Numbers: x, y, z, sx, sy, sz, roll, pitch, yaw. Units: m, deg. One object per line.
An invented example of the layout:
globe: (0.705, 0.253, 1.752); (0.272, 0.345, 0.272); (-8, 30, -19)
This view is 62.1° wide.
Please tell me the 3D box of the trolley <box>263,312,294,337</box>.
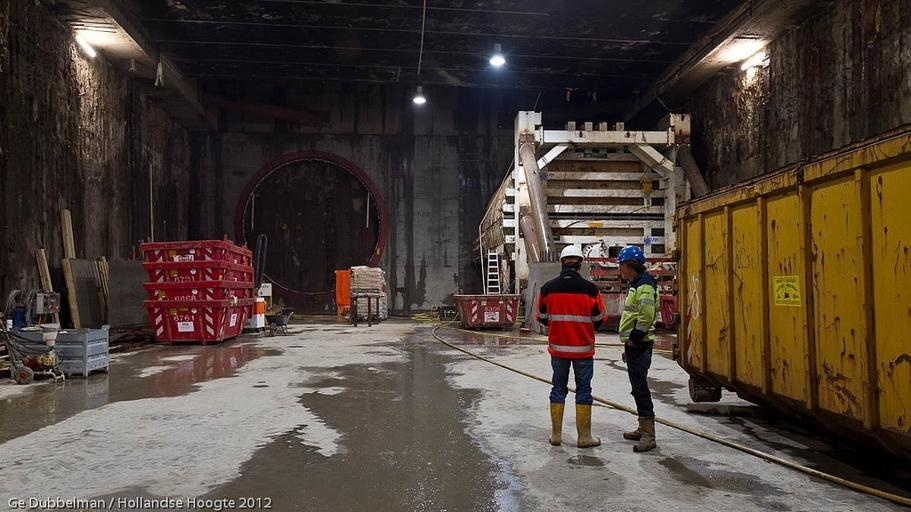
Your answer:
trolley: (-6.053, 2.429, 25.837); (0.662, 0.654, 1.245); (-3, -19, 3)

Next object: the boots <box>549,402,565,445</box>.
boots: (2.103, 3.492, 15.866); (0.246, 0.869, 0.482); (1, 6, 10)

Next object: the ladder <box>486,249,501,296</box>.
ladder: (1.474, 0.705, 29.557); (0.557, 1.590, 1.293); (0, 6, 3)

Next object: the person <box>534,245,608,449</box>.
person: (2.438, 1.886, 15.887); (1.296, 4.144, 0.985); (1, 6, 10)

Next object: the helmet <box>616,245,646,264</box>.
helmet: (3.735, -0.019, 16.238); (0.608, 0.337, 0.407); (3, -2, 7)

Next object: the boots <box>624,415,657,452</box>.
boots: (4.000, 3.719, 15.944); (0.714, 0.686, 0.759); (4, -4, -10)

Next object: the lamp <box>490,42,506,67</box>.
lamp: (1.624, -7.873, 29.731); (0.598, 0.564, 0.565); (1, 2, 0)

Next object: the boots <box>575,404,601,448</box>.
boots: (2.758, 3.520, 15.785); (0.568, 0.906, 0.419); (-2, 6, -18)

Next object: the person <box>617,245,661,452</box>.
person: (3.830, 1.920, 15.838); (0.726, 4.165, 1.083); (-1, 6, -11)

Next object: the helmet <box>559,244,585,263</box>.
helmet: (2.474, -0.050, 16.275); (0.532, 0.285, 0.618); (0, -3, 6)
